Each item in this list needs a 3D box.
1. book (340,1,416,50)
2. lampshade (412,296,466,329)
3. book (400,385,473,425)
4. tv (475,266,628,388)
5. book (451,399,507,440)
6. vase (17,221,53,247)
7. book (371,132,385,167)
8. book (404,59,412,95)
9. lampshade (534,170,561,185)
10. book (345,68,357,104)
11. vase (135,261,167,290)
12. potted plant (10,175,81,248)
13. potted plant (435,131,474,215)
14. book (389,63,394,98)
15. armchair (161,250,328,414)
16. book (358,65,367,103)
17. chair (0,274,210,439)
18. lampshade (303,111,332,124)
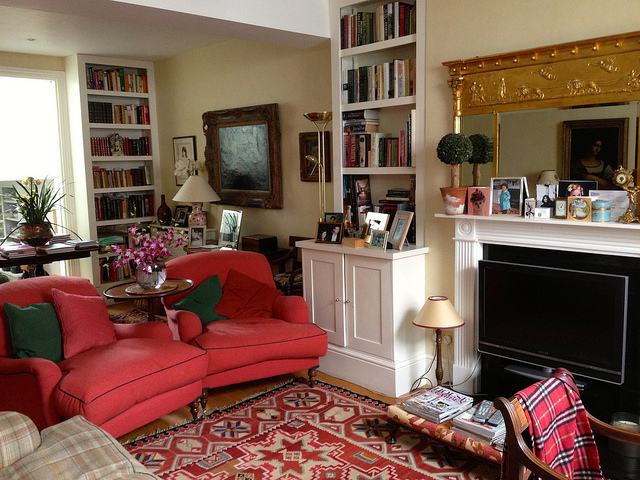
[{"bbox_3d":[0.519,-1.951,4.214,0.793,0.332,0.142,8,15,41],"label":"book"},{"bbox_3d":[0.929,0.576,3.624,0.304,0.218,0.285,-10,14,-36],"label":"lampshade"},{"bbox_3d":[0.865,1.161,3.313,0.251,0.052,0.246,-11,10,-41],"label":"book"},{"bbox_3d":[1.567,0.605,3.277,1.108,0.762,0.286,11,-12,-5],"label":"tv"},{"bbox_3d":[1.112,1.226,3.143,0.400,0.069,0.399,-3,6,29],"label":"book"},{"bbox_3d":[-3.237,-0.084,5.299,0.301,0.218,0.304,2,5,40],"label":"vase"},{"bbox_3d":[0.541,-0.842,4.318,0.053,0.358,0.279,4,10,23],"label":"book"},{"bbox_3d":[0.761,-1.416,4.030,0.084,0.291,0.031,8,15,40],"label":"book"},{"bbox_3d":[1.608,-0.448,3.289,0.032,0.099,0.154,-10,14,-37],"label":"lampshade"},{"bbox_3d":[0.284,-1.485,4.447,0.082,0.337,0.154,-5,12,-17],"label":"book"},{"bbox_3d":[-1.487,0.320,4.142,0.254,0.285,0.248,0,-7,-6],"label":"vase"},{"bbox_3d":[-3.206,-0.323,5.352,0.757,0.755,0.598,-3,-1,30],"label":"potted plant"},{"bbox_3d":[1.066,-0.534,3.685,0.257,0.640,0.364,2,12,18],"label":"potted plant"},{"bbox_3d":[0.633,-1.423,4.126,0.031,0.300,0.071,-5,12,-14],"label":"book"},{"bbox_3d":[-0.668,0.716,4.476,1.461,1.259,1.422,-5,7,-31],"label":"armchair"},{"bbox_3d":[0.397,-1.451,4.325,0.033,0.309,0.103,-11,15,-39],"label":"book"},{"bbox_3d":[-1.738,0.820,3.540,1.419,1.023,1.108,7,11,33],"label":"chair"},{"bbox_3d":[-0.003,-1.190,4.496,0.242,0.118,0.223,-1,11,2],"label":"lampshade"}]
